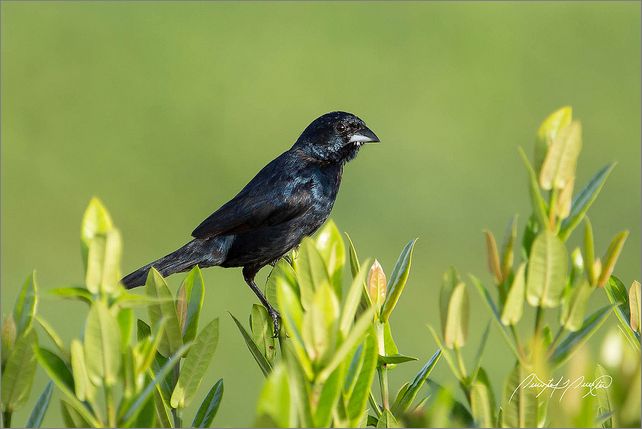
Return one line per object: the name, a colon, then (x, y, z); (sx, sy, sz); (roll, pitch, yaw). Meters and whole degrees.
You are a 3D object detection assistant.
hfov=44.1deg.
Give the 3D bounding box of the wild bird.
wild bird: (-0.265, -0.052, 4.877); (1.190, 1.161, 0.400); (-6, -43, 16)
